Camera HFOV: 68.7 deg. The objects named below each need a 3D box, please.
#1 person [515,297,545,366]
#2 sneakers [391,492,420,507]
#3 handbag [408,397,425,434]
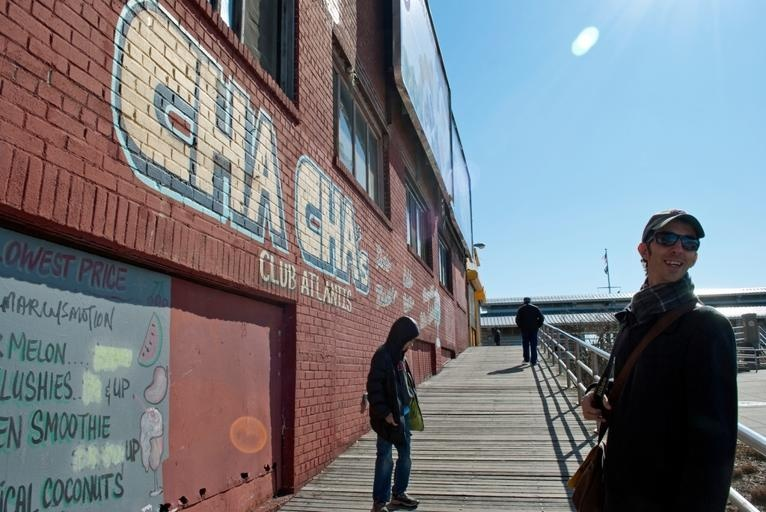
[{"bbox_3d":[3.845,1.964,14.655,0.653,1.802,0.934,-7,-12,14],"label":"person"},{"bbox_3d":[0.236,2.593,5.939,0.292,0.157,0.124,-1,-5,14],"label":"sneakers"},{"bbox_3d":[0.382,1.753,6.303,0.227,0.397,0.401,12,-12,1],"label":"handbag"}]
